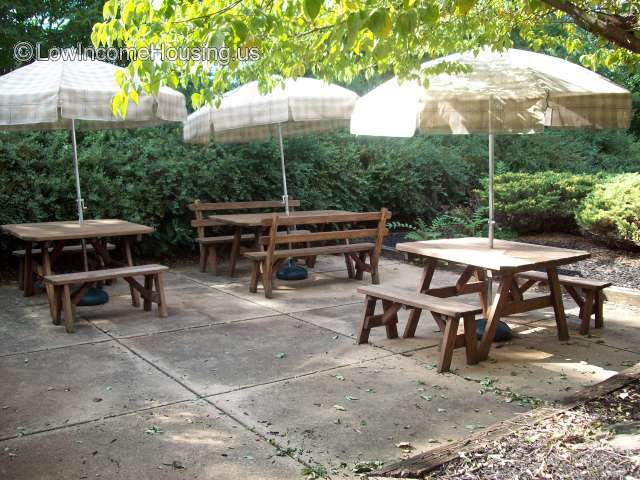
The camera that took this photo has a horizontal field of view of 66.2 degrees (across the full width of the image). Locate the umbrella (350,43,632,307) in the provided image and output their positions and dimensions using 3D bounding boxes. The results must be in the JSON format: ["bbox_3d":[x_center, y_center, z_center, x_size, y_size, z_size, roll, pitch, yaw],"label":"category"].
[{"bbox_3d":[1.883,-0.864,5.359,2.559,1.994,2.556,6,9,44],"label":"umbrella"}]
